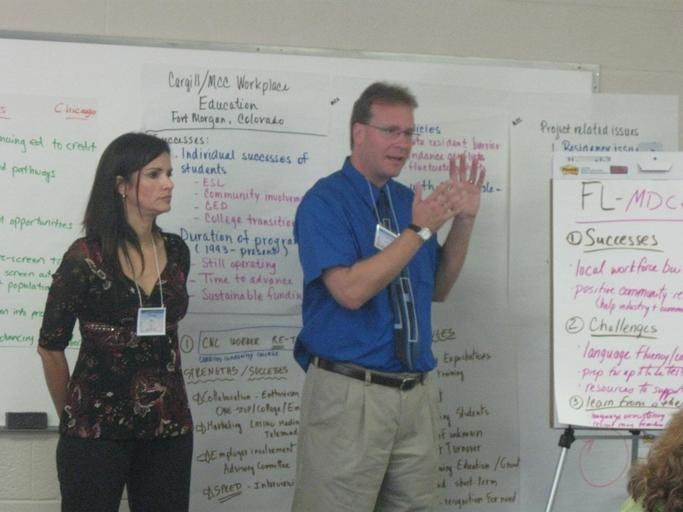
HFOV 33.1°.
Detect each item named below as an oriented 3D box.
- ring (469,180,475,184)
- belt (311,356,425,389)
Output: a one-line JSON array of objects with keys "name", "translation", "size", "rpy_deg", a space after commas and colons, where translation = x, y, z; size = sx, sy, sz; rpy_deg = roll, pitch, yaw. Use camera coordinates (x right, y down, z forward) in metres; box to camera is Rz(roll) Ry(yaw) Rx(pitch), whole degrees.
[{"name": "ring", "translation": [0.547, -0.309, 4.811], "size": [0.019, 0.018, 0.007], "rpy_deg": [3, -19, -15]}, {"name": "belt", "translation": [0.119, 0.479, 4.679], "size": [0.450, 0.120, 0.083], "rpy_deg": [1, 3, -4]}]
